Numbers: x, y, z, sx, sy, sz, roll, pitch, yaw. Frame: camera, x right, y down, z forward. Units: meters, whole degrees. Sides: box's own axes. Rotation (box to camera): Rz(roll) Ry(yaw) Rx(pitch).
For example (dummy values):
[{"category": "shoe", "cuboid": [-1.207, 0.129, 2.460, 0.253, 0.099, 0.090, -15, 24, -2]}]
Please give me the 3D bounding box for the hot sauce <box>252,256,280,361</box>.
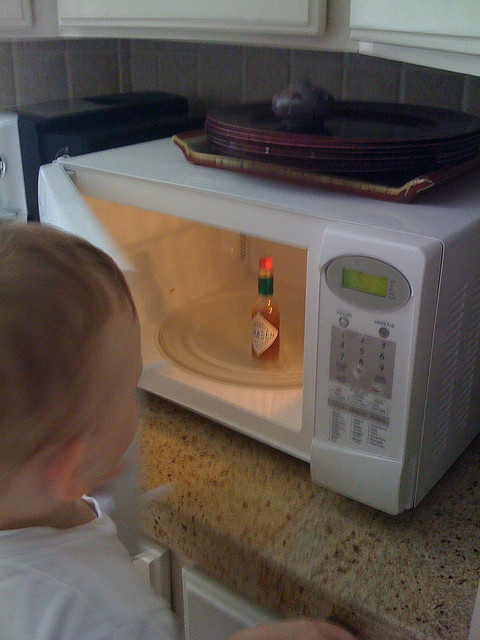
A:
[{"category": "hot sauce", "cuboid": [0.039, -0.015, 0.747, 0.041, 0.155, 0.044, 1, 15, 0]}]
